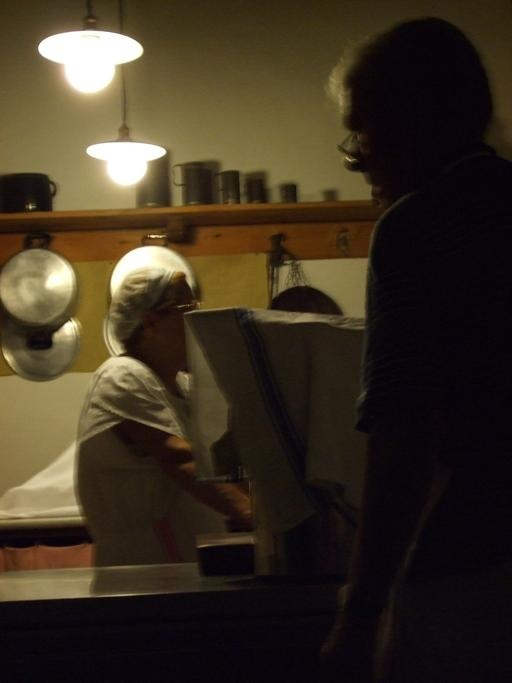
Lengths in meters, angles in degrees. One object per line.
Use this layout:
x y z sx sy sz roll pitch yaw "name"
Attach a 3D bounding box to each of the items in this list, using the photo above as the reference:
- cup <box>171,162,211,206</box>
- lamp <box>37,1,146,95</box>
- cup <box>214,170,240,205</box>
-0.184 -0.460 2.264 0.106 0.127 0.087 -1 6 13 "cup"
-0.381 -0.678 1.760 0.218 0.161 0.177 -2 5 1 "lamp"
-0.077 -0.450 2.246 0.061 0.108 0.086 -3 5 -3 "cup"
